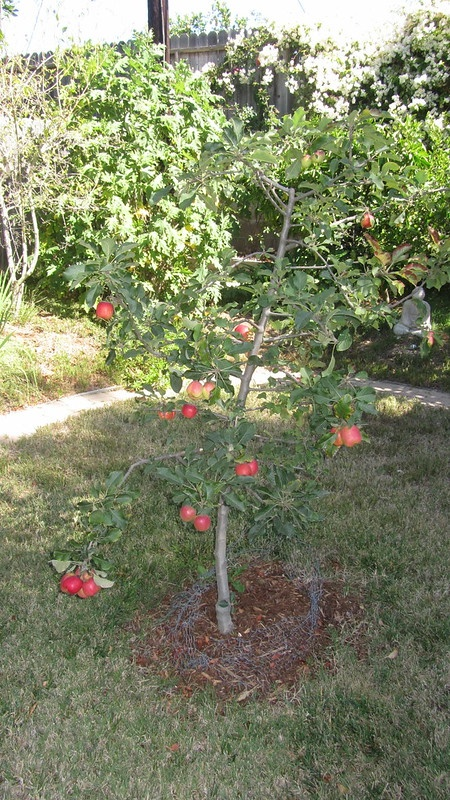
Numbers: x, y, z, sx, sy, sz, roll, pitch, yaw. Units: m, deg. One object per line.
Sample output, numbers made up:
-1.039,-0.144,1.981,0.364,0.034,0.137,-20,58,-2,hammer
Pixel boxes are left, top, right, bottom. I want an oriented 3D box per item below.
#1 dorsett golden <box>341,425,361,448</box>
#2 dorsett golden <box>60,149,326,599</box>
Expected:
0.417,0.128,2.037,0.066,0.080,0.062,9,-20,-34,dorsett golden
-0.130,-0.105,2.420,1.090,1.768,0.710,4,8,0,dorsett golden
